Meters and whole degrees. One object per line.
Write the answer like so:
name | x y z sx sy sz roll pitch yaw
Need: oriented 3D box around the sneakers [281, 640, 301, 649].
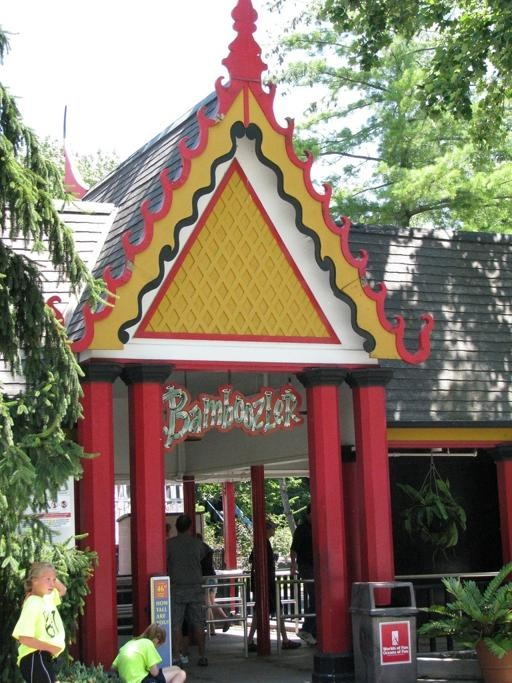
sneakers | 0.466 3.953 12.584 0.249 0.103 0.116 -3 6 -20

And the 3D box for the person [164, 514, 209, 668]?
person | -0.823 2.936 11.330 0.709 1.705 0.681 -4 -11 8
